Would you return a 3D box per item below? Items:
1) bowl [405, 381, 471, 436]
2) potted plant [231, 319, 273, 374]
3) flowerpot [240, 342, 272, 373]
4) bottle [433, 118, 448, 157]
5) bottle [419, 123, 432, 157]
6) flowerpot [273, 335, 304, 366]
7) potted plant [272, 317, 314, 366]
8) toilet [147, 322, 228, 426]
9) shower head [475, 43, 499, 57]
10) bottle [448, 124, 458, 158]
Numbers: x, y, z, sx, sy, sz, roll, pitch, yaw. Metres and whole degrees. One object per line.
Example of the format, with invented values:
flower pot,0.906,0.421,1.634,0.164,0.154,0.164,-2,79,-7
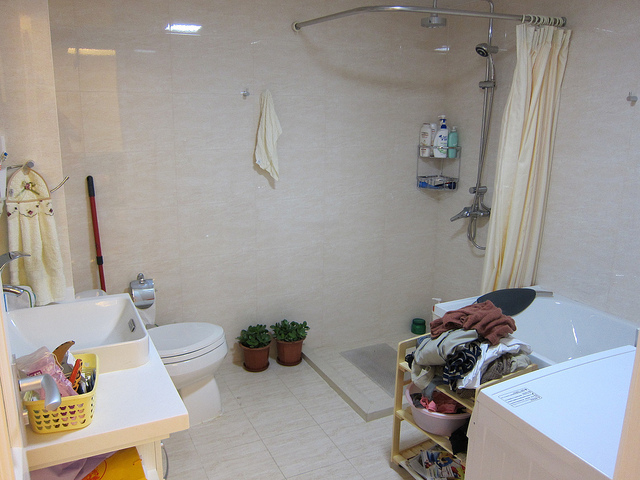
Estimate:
bowl,0.590,0.864,2.580,0.261,0.097,0.253,1,13,0
potted plant,-0.454,0.822,3.816,0.229,0.244,0.256,0,0,-2
flowerpot,-0.457,0.860,3.809,0.212,0.163,0.211,16,24,36
bottle,0.937,-0.791,3.994,0.099,0.289,0.145,-1,18,10
bottle,0.851,-0.794,4.115,0.090,0.263,0.094,-4,18,1
flowerpot,-0.229,0.845,3.921,0.232,0.183,0.230,11,16,35
potted plant,-0.228,0.779,3.883,0.245,0.254,0.267,11,4,-25
toilet,-0.757,0.826,3.303,0.621,0.510,0.493,1,15,-1
shower head,1.077,-1.213,3.304,0.129,0.046,0.093,3,-5,-9
bottle,1.043,-0.771,4.027,0.070,0.244,0.198,0,18,15
